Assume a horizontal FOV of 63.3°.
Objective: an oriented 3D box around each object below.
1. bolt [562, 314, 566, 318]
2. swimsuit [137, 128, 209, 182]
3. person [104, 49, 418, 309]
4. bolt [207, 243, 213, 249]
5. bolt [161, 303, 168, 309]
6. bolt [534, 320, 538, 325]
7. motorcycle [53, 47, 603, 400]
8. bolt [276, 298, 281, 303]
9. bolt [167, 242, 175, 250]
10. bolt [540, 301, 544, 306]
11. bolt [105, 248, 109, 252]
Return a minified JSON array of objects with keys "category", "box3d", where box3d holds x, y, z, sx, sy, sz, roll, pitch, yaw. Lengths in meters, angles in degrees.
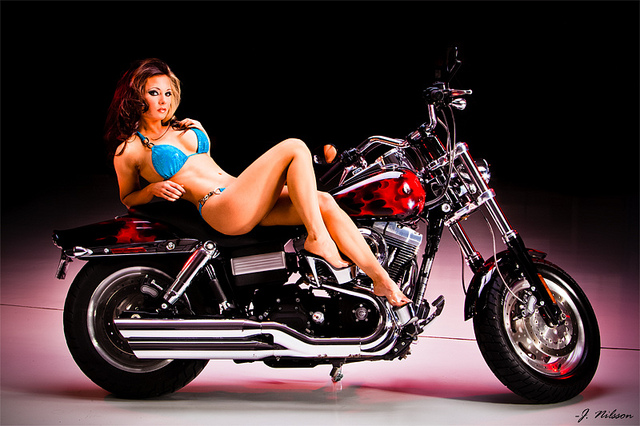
[{"category":"bolt","box3d":[1.329,0.560,2.800,0.019,0.011,0.012,-9,-4,38]},{"category":"swimsuit","box3d":[-0.846,-0.403,3.117,0.374,0.181,0.459,-29,32,-21]},{"category":"person","box3d":[-0.339,-0.208,2.913,1.928,1.140,0.677,13,22,19]},{"category":"bolt","box3d":[-0.585,0.177,2.761,0.026,0.026,0.008,-3,11,-17]},{"category":"bolt","box3d":[-0.826,0.491,2.749,0.033,0.026,0.008,-2,10,-14]},{"category":"bolt","box3d":[1.185,0.593,2.819,0.004,0.019,0.019,3,-22,-33]},{"category":"motorcycle","box3d":[0.104,0.158,2.974,2.998,1.729,0.996,0,1,2]},{"category":"bolt","box3d":[-0.218,0.464,2.752,0.024,0.024,0.006,1,-2,-1]},{"category":"bolt","box3d":[-0.800,0.177,2.772,0.045,0.044,0.012,0,-2,-12]},{"category":"bolt","box3d":[1.205,0.485,2.791,0.020,0.020,0.003,2,10,10]},{"category":"bolt","box3d":[-1.141,0.197,2.763,0.019,0.018,0.005,2,3,-2]}]
